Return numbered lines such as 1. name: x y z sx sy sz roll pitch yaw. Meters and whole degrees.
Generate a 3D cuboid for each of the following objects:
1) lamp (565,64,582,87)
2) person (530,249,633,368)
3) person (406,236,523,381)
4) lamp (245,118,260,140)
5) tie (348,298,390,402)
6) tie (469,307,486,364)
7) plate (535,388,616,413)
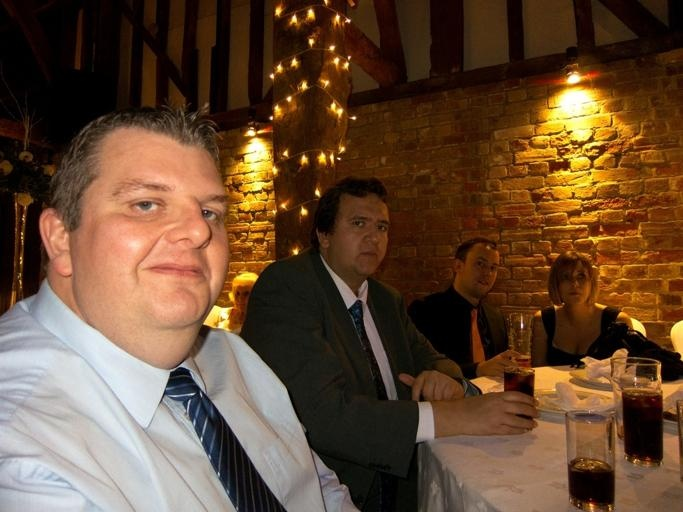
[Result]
1. lamp: 1.812 -1.436 4.289 0.129 0.145 0.268 -2 11 23
2. person: 1.521 0.313 3.429 0.565 0.701 0.433 -13 -32 41
3. person: 0.821 0.403 3.567 0.883 1.055 0.693 7 -15 2
4. lamp: -0.956 -1.374 5.807 0.116 0.178 0.200 9 2 35
5. tie: 0.089 0.353 2.189 0.101 0.466 0.062 -9 -31 -9
6. tie: 0.824 0.516 3.371 0.057 0.266 0.031 -1 -7 6
7. plate: 0.755 0.469 1.783 0.153 0.020 0.146 -2 1 -8
